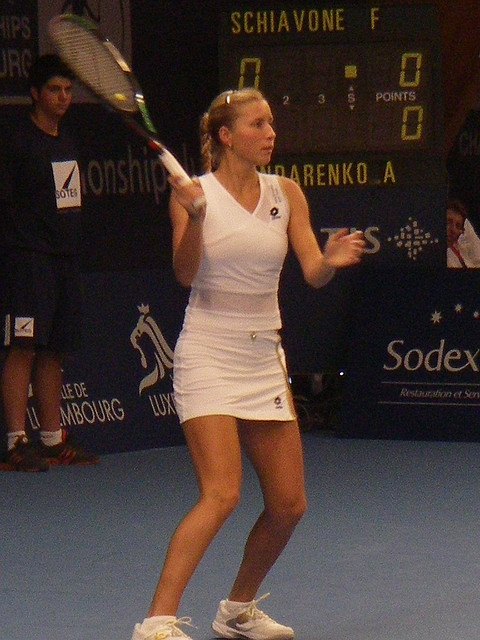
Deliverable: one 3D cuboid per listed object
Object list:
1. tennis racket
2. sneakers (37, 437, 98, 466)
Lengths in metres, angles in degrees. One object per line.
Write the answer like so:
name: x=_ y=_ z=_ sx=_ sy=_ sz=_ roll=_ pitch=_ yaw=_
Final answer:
tennis racket: x=-0.258 y=-0.527 z=1.585 sx=0.182 sy=0.368 sz=0.429 roll=-12 pitch=19 yaw=-36
sneakers: x=-1.164 y=0.876 z=4.588 sx=0.426 sy=0.172 sz=0.137 roll=5 pitch=14 yaw=-17
